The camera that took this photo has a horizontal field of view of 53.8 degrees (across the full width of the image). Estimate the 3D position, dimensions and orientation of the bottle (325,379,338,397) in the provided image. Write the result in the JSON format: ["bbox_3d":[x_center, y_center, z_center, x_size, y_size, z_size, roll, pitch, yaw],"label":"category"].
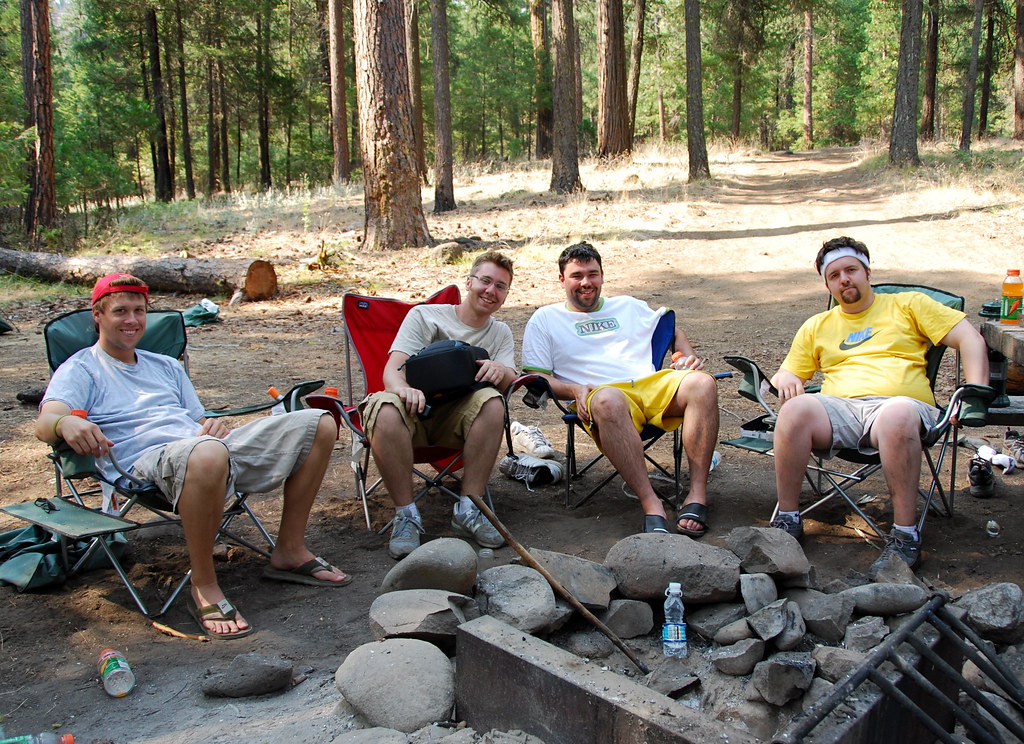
[{"bbox_3d":[-1.290,0.120,7.152,0.118,0.128,0.115,0,-4,-7],"label":"bottle"}]

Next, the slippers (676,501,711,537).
[{"bbox_3d":[1.019,0.841,5.677,0.180,0.163,0.454,0,-3,10],"label":"slippers"}]

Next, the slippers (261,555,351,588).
[{"bbox_3d":[-1.098,1.033,5.355,0.367,0.105,0.189,1,5,18],"label":"slippers"}]

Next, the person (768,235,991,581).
[{"bbox_3d":[1.997,0.123,5.582,1.130,1.675,1.140,1,13,26],"label":"person"}]

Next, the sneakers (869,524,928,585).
[{"bbox_3d":[1.964,0.947,5.105,0.163,0.199,0.492,-2,0,32],"label":"sneakers"}]

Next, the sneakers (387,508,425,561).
[{"bbox_3d":[-0.598,0.896,5.599,0.212,0.255,0.408,-6,11,-7],"label":"sneakers"}]

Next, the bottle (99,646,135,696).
[{"bbox_3d":[-1.820,1.388,4.619,0.125,0.123,0.201,-7,16,-28],"label":"bottle"}]

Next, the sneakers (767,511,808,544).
[{"bbox_3d":[1.525,0.865,5.586,0.186,0.194,0.295,-1,12,14],"label":"sneakers"}]

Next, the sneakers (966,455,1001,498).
[{"bbox_3d":[2.790,0.649,5.954,0.109,0.125,0.282,-2,14,26],"label":"sneakers"}]

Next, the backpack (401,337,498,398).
[{"bbox_3d":[-0.403,0.007,5.778,0.441,0.305,0.318,-11,-1,10],"label":"backpack"}]

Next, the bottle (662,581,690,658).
[{"bbox_3d":[0.767,1.176,4.803,0.128,0.318,0.206,-3,12,8],"label":"bottle"}]

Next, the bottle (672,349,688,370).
[{"bbox_3d":[1.020,-0.070,6.144,0.024,0.089,0.097,20,-21,-39],"label":"bottle"}]

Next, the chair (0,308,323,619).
[{"bbox_3d":[-1.788,0.393,5.360,1.336,1.623,1.170,3,10,28],"label":"chair"}]

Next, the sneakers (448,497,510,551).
[{"bbox_3d":[-0.217,0.843,5.789,0.425,0.193,0.175,19,31,34],"label":"sneakers"}]

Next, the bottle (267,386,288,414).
[{"bbox_3d":[-1.467,0.182,6.245,0.094,0.080,0.197,8,1,-18],"label":"bottle"}]

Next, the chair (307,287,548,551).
[{"bbox_3d":[-0.570,0.199,6.010,1.069,1.420,0.981,-2,1,-5],"label":"chair"}]

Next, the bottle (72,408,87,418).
[{"bbox_3d":[-2.236,0.220,5.194,0.053,0.049,0.052,-4,-6,4],"label":"bottle"}]

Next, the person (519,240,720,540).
[{"bbox_3d":[0.675,0.060,5.999,0.931,1.622,1.206,-14,15,-40],"label":"person"}]

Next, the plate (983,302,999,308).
[{"bbox_3d":[2.935,-0.408,6.181,0.064,0.033,0.062,-5,13,-14],"label":"plate"}]

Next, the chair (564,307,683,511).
[{"bbox_3d":[0.707,0.192,6.427,0.872,1.143,0.690,-7,9,11],"label":"chair"}]
